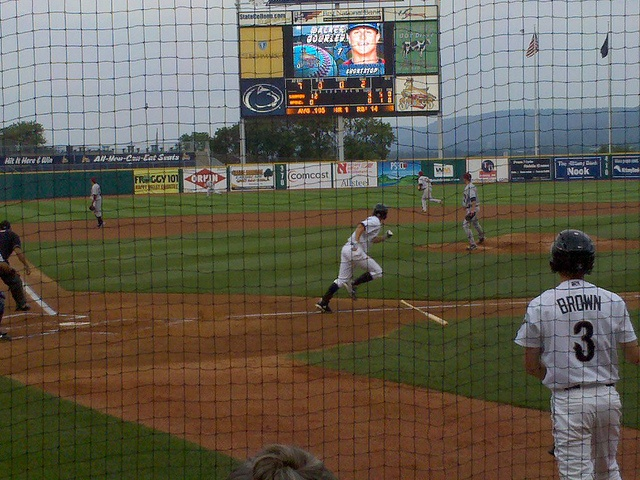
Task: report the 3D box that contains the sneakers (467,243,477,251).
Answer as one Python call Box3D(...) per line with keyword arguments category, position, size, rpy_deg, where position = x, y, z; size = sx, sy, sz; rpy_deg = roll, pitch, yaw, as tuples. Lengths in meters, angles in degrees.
Box3D(category="sneakers", position=(3.769, 0.184, 26.157), size=(0.147, 0.162, 0.364), rpy_deg=(-6, -5, 7))

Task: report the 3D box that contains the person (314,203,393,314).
Box3D(category="person", position=(0.669, 0.373, 21.657), size=(1.496, 2.107, 0.743), rpy_deg=(-7, 14, -16))

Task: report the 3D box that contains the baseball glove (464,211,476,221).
Box3D(category="baseball glove", position=(3.686, -0.587, 25.923), size=(0.223, 0.119, 0.333), rpy_deg=(2, 28, 36))

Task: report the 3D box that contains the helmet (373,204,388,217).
Box3D(category="helmet", position=(1.228, -0.556, 21.666), size=(0.268, 0.345, 0.338), rpy_deg=(-1, 13, 5))

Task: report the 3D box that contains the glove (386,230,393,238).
Box3D(category="glove", position=(1.397, -0.098, 21.518), size=(0.122, 0.083, 0.173), rpy_deg=(3, 11, -18))

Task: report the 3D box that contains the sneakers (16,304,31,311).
Box3D(category="sneakers", position=(-6.230, 1.419, 21.984), size=(0.238, 0.101, 0.134), rpy_deg=(-4, 11, -8))

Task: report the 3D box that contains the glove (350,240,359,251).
Box3D(category="glove", position=(0.693, 0.119, 21.406), size=(0.192, 0.262, 0.161), rpy_deg=(3, 10, 9))
